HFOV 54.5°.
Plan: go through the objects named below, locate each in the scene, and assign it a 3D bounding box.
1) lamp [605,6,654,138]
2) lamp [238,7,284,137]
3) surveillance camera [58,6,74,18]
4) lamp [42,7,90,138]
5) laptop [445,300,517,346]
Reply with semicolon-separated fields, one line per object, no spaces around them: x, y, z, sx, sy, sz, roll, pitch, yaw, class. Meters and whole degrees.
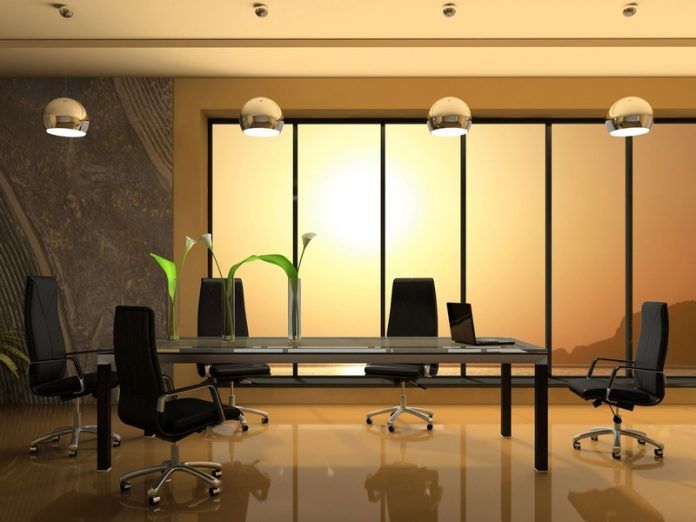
2.951;-1.977;6.989;0.425;1.343;0.763;4;12;22;lamp
-0.899;-1.987;6.993;0.410;1.358;0.872;-2;11;-7;lamp
-2.991;-2.641;7.192;0.194;0.092;0.153;11;16;41;surveillance camera
-3.120;-2.052;7.392;0.430;1.372;0.651;-5;12;-23;lamp
1.276;0.621;6.663;0.471;0.356;0.481;0;-2;-7;laptop
